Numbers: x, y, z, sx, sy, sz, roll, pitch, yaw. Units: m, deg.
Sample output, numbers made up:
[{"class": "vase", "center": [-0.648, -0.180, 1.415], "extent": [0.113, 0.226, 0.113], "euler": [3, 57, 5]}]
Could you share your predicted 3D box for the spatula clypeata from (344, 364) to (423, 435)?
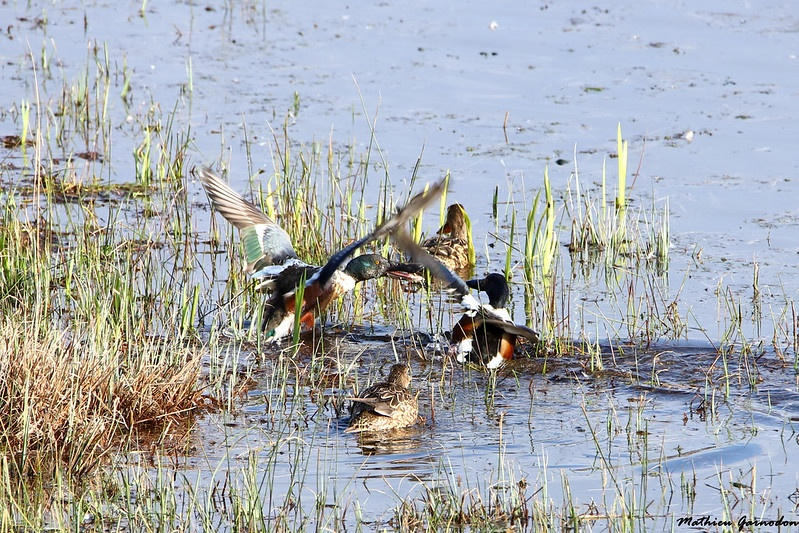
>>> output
[{"class": "spatula clypeata", "center": [-0.191, 1.185, 9.534], "extent": [0.519, 0.951, 0.643], "euler": [-1, 87, 32]}]

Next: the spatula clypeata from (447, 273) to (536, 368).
[{"class": "spatula clypeata", "center": [0.953, 0.596, 11.171], "extent": [0.771, 0.829, 1.031], "euler": [18, 69, 1]}]

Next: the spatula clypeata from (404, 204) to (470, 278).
[{"class": "spatula clypeata", "center": [0.693, -0.402, 14.435], "extent": [0.575, 0.826, 1.071], "euler": [18, 33, 34]}]
